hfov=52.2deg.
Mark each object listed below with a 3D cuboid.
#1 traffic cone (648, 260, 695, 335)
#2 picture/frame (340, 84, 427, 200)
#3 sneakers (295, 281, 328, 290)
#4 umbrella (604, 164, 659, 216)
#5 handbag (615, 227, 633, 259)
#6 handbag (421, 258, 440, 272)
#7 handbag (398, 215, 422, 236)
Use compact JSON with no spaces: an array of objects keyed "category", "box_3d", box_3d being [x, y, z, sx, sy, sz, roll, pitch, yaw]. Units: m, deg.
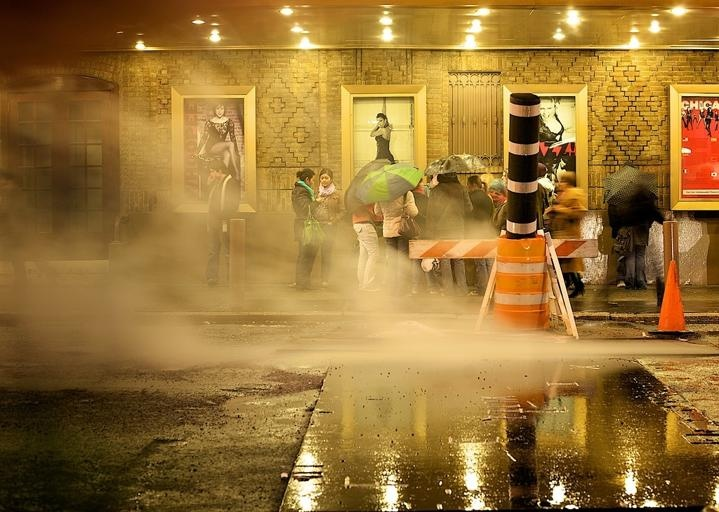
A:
[{"category":"traffic cone","box_3d":[4.166,0.572,9.845,0.472,0.934,1.240,3,5,24]},{"category":"picture/frame","box_3d":[0.573,-2.949,17.223,1.859,0.239,2.459,-4,-39,-1]},{"category":"sneakers","box_3d":[-0.981,0.613,14.933,0.447,0.193,0.138,10,-7,-24]},{"category":"umbrella","box_3d":[5.915,-1.610,16.568,1.198,0.791,1.225,0,8,28]},{"category":"handbag","box_3d":[5.522,-0.285,15.416,0.334,0.576,0.219,2,4,21]},{"category":"handbag","box_3d":[1.265,0.173,13.318,0.232,0.190,0.364,1,5,7]},{"category":"handbag","box_3d":[0.914,-0.556,13.695,0.374,0.385,0.180,1,-9,-33]}]
